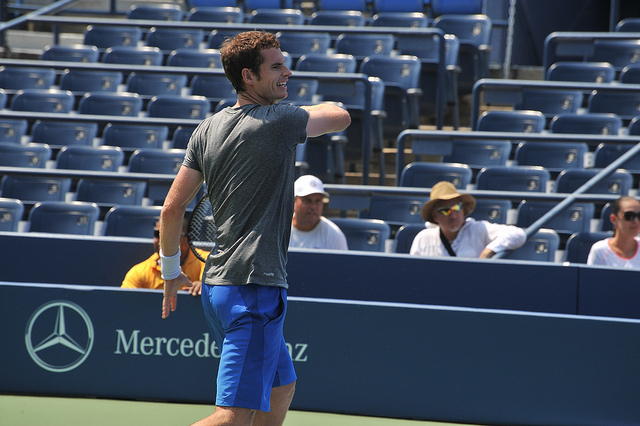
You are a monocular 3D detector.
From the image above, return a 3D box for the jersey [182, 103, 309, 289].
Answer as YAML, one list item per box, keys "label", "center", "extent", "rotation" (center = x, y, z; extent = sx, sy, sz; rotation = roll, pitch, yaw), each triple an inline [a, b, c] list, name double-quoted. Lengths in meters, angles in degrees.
- label: "jersey"
  center: [-0.581, -0.155, 12.090]
  extent: [1.064, 1.422, 0.934]
  rotation: [-4, 31, -1]

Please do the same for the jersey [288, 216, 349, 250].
- label: "jersey"
  center: [-0.045, 0.202, 14.215]
  extent: [0.360, 0.257, 0.117]
  rotation: [4, -8, 8]

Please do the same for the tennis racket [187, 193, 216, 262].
- label: "tennis racket"
  center: [-1.064, 0.134, 12.412]
  extent: [0.253, 0.619, 0.253]
  rotation: [1, -6, -2]

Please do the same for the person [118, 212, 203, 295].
- label: "person"
  center: [-1.530, 0.413, 13.216]
  extent: [0.737, 0.931, 0.357]
  rotation: [8, -1, 22]

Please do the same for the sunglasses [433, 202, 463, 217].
- label: "sunglasses"
  center: [1.328, -0.053, 14.205]
  extent: [0.281, 0.108, 0.117]
  rotation: [-3, 30, 0]

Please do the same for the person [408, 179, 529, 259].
- label: "person"
  center: [1.592, 0.058, 14.432]
  extent: [0.929, 0.926, 1.176]
  rotation: [-1, 1, 8]

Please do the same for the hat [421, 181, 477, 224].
- label: "hat"
  center: [1.308, -0.135, 14.364]
  extent: [0.494, 0.242, 0.477]
  rotation: [-20, -31, 3]

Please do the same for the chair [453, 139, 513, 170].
- label: "chair"
  center: [1.869, -0.718, 15.799]
  extent: [0.597, 0.380, 0.206]
  rotation: [8, 0, 21]
